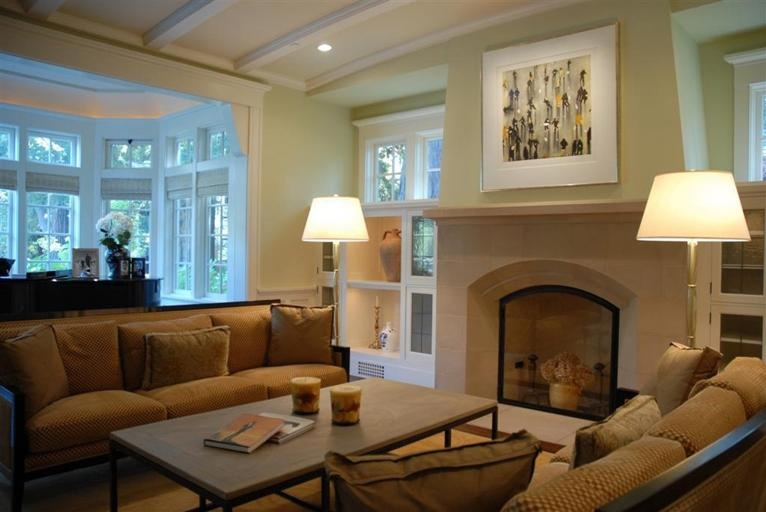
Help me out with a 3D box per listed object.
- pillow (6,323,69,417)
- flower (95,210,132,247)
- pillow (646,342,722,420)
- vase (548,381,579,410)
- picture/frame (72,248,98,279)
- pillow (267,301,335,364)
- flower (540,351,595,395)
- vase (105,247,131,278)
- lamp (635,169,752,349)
[{"bbox_3d":[-2.287,0.744,3.619,0.211,0.539,0.368,0,-1,5],"label":"pillow"},{"bbox_3d":[-3.041,-0.279,6.174,0.387,0.420,0.435,1,0,14],"label":"flower"},{"bbox_3d":[1.733,0.703,3.147,0.237,0.434,0.501,4,-5,-1],"label":"pillow"},{"bbox_3d":[1.659,1.279,5.088,0.252,0.234,0.239,3,-5,-14],"label":"vase"},{"bbox_3d":[-3.321,0.098,6.124,0.343,0.419,0.057,0,-10,-22],"label":"picture/frame"},{"bbox_3d":[-0.735,0.717,4.888,0.621,0.527,0.228,5,-9,-31],"label":"pillow"},{"bbox_3d":[1.675,1.067,5.020,0.415,0.328,0.318,-2,1,9],"label":"flower"},{"bbox_3d":[-2.943,0.086,6.130,0.310,0.363,0.329,3,2,14],"label":"vase"},{"bbox_3d":[2.054,0.035,3.641,0.601,1.135,0.592,0,-1,36],"label":"lamp"}]
